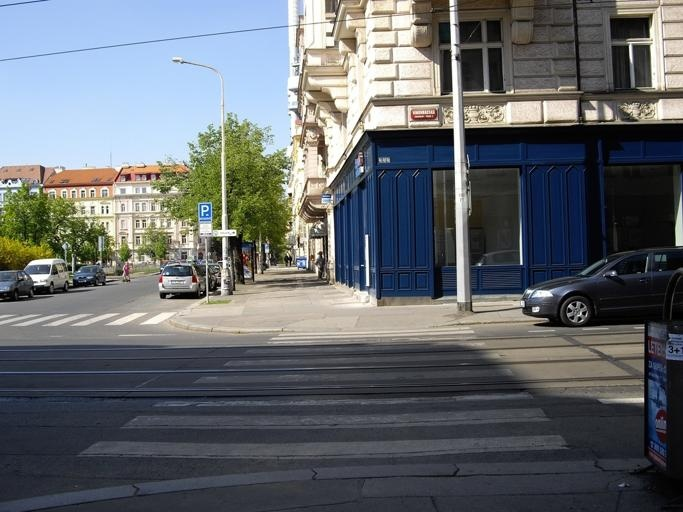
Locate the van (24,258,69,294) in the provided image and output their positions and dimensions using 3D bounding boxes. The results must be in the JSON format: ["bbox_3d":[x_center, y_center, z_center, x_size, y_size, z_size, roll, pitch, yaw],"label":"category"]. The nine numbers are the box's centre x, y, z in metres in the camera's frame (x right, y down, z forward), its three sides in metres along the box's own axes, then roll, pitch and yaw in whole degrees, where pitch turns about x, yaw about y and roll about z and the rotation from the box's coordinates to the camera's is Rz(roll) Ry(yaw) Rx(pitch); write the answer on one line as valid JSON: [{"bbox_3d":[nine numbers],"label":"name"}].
[{"bbox_3d":[-15.400,0.975,43.551,1.447,1.297,2.568,-3,-4,2],"label":"van"}]

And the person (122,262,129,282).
[{"bbox_3d":[-14.989,1.115,58.465,0.370,1.437,1.233,-4,7,-17],"label":"person"}]

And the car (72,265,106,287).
[{"bbox_3d":[-16.019,1.181,53.388,0.997,0.934,2.118,-2,-4,0],"label":"car"}]
